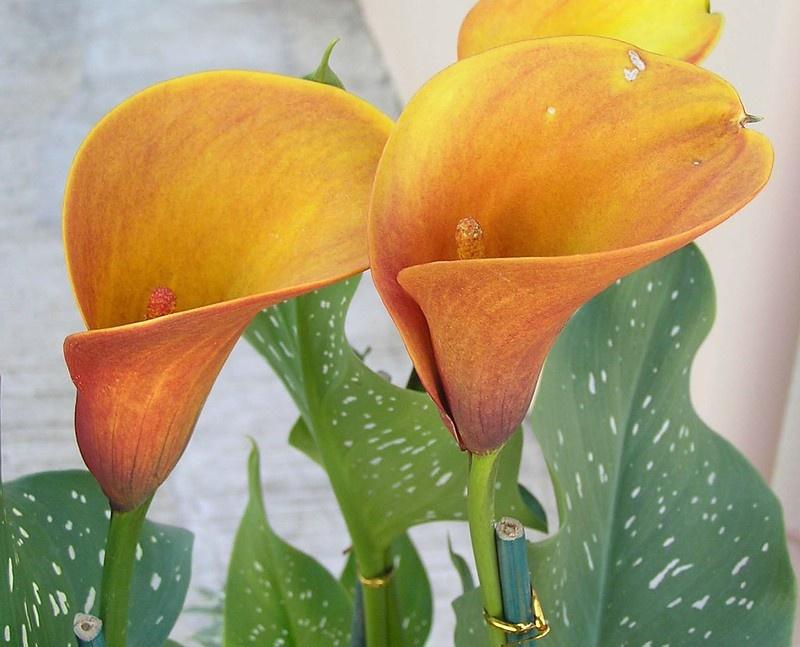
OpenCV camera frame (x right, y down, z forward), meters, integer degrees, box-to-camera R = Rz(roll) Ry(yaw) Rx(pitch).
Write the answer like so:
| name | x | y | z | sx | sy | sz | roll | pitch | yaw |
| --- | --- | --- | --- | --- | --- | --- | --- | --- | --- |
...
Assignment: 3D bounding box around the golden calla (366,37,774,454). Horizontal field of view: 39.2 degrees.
| name | x | y | z | sx | sy | sz | roll | pitch | yaw |
| --- | --- | --- | --- | --- | --- | --- | --- | --- | --- |
| golden calla | 0.063 | -0.074 | 0.483 | 0.150 | 0.128 | 0.228 | 3 | -38 | 3 |
